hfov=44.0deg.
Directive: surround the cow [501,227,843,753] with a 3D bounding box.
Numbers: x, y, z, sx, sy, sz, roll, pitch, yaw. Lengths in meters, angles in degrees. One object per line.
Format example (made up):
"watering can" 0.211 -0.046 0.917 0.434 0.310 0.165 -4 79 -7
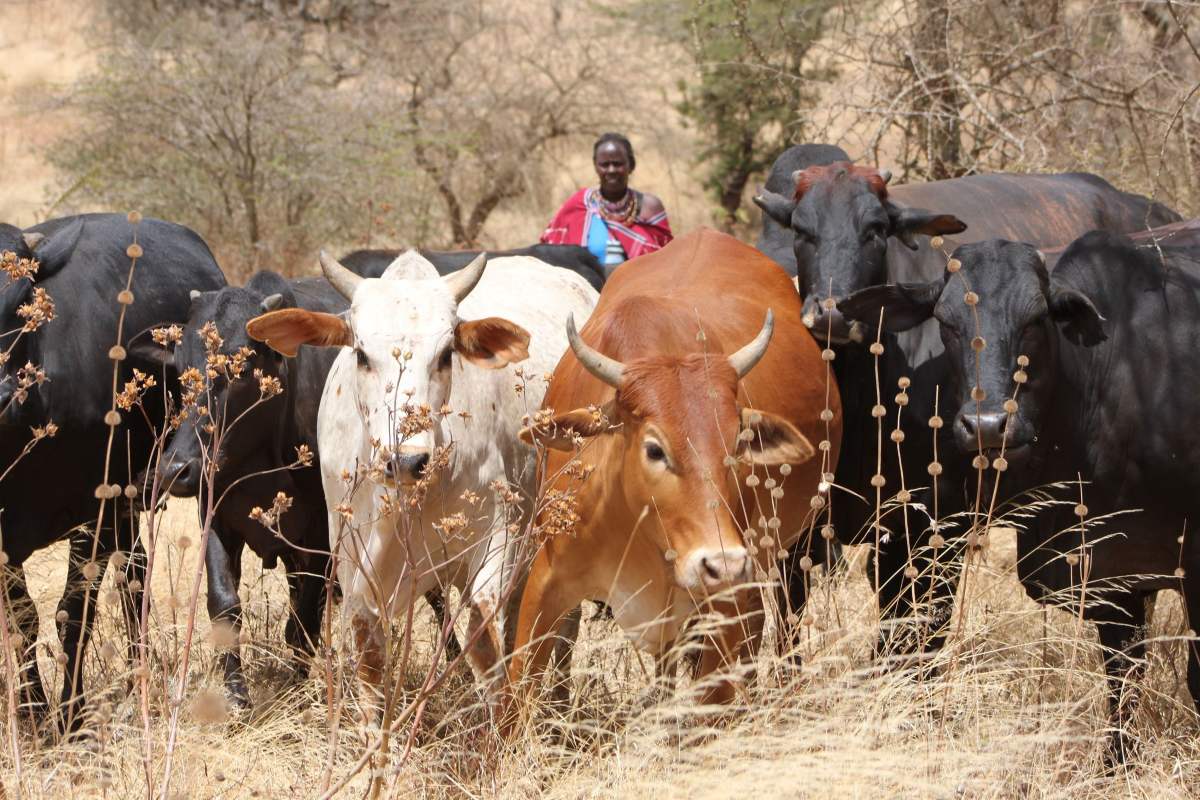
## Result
"cow" 0.421 0.250 7.942 1.891 2.938 1.440 6 -10 -44
